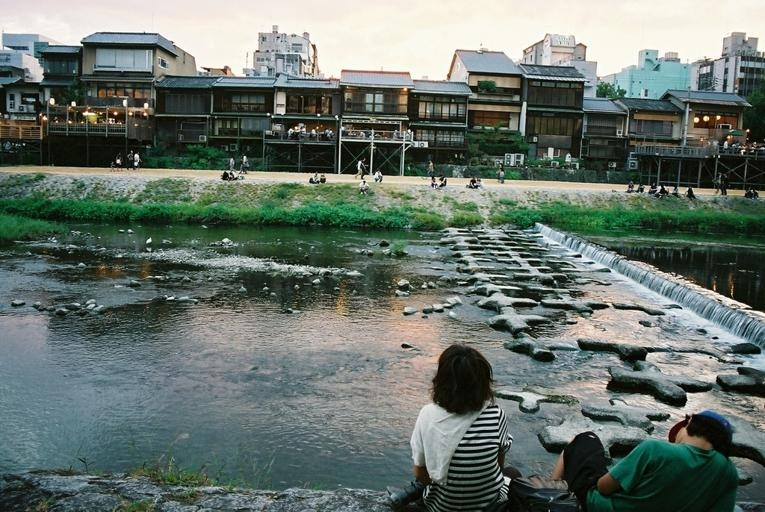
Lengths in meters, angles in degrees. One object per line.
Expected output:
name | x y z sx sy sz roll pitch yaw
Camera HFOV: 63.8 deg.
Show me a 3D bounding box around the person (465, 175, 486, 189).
person | 6.596 -5.259 43.938 0.971 1.142 2.221 -1 7 -3
